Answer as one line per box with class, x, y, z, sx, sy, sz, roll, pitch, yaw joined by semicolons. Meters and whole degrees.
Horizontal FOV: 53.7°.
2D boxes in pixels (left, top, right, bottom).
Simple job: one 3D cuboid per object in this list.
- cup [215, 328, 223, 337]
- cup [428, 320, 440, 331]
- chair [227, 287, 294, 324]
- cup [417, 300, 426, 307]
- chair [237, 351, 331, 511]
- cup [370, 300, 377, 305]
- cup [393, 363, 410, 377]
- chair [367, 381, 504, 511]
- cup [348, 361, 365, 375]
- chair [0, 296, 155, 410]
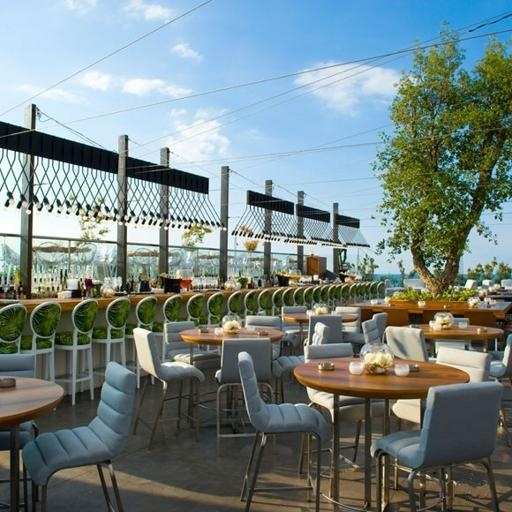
cup;-0.341;0.671;4.504;0.050;0.055;0.053;0;1;0
cup;1.761;0.680;4.941;0.067;0.054;0.068;-1;6;0
chair;0.077;0.754;8.166;0.425;0.710;0.688;1;1;32
cup;2.482;0.712;7.568;0.115;0.086;0.123;-1;2;0
chair;0.122;1.024;3.329;0.724;1.281;0.690;-1;-1;-2
cup;1.962;0.780;8.392;0.081;0.079;0.106;-9;11;-34
cup;0.848;0.648;2.911;0.060;0.050;0.062;-2;3;0
chair;0.880;0.908;2.441;0.606;0.650;0.428;0;-1;13
cup;0.597;0.656;2.979;0.063;0.051;0.067;-1;-1;0
chair;-1.614;0.839;4.498;0.338;0.669;0.982;0;-2;25
